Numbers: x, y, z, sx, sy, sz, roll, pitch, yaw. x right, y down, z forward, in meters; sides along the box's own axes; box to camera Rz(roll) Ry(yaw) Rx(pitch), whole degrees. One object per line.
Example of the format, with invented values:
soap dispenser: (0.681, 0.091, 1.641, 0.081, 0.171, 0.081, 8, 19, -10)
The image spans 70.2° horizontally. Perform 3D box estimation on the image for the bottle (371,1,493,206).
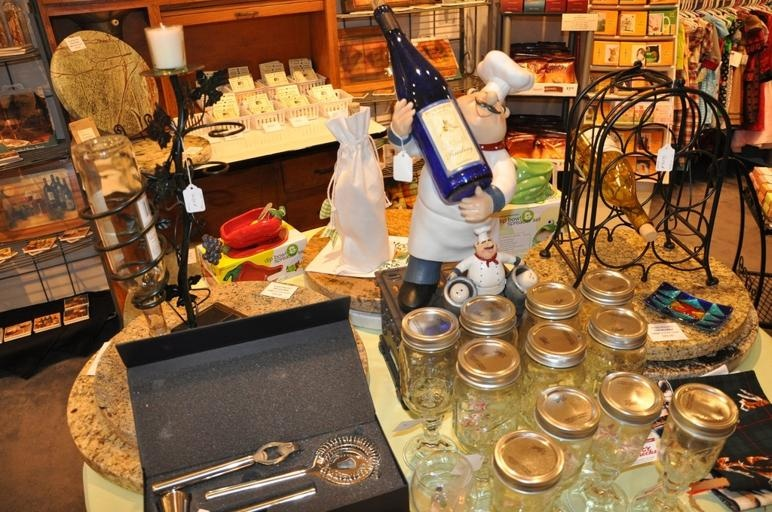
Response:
bottle: (0.157, -0.473, 1.694, 0.195, 0.605, 0.405, -16, 27, -21)

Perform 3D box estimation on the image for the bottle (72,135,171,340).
bottle: (-0.749, -0.040, 1.597, 0.174, 0.605, 0.179, -5, 25, 2)

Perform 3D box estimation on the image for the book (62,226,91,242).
book: (-1.845, -0.125, 3.255, 0.138, 0.014, 0.075, -19, 37, -25)

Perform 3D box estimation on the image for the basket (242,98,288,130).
basket: (-0.765, -0.878, 3.441, 0.165, 0.086, 0.224, -8, 31, -12)

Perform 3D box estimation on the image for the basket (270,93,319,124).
basket: (-0.584, -0.950, 3.564, 0.190, 0.095, 0.247, -13, 41, -16)

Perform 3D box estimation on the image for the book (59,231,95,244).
book: (-1.841, -0.115, 3.252, 0.095, 0.092, 0.089, -1, 7, -18)

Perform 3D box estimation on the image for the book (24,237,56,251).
book: (-2.028, -0.065, 3.206, 0.113, 0.030, 0.086, -1, 27, 10)
